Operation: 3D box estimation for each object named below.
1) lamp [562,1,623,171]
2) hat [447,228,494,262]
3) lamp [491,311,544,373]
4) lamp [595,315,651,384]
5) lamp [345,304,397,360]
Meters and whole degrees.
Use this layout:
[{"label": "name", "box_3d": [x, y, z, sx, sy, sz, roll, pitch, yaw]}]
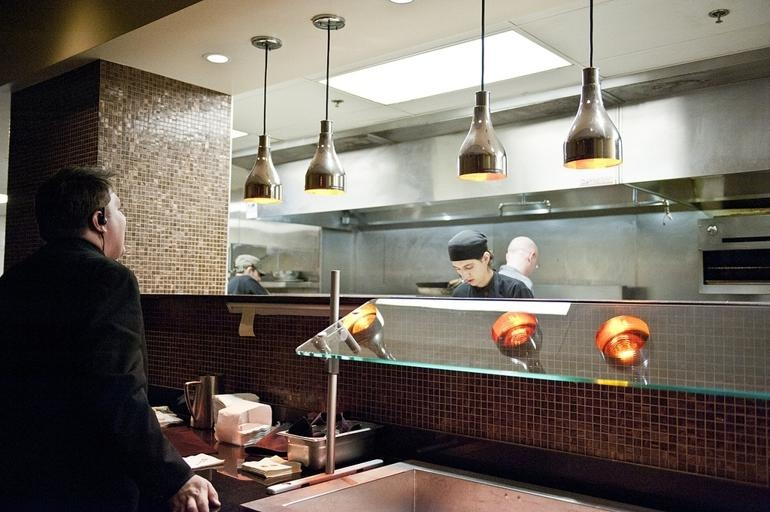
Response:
[{"label": "lamp", "box_3d": [0.905, -0.816, 2.685, 0.223, 0.876, 0.552, -1, -1, 18]}, {"label": "hat", "box_3d": [0.640, -0.091, 4.600, 0.288, 0.161, 0.226, -3, 2, -20]}, {"label": "lamp", "box_3d": [0.416, 0.268, 1.934, 0.158, 0.157, 0.258, -1, -1, 11]}, {"label": "lamp", "box_3d": [0.714, 0.275, 1.839, 0.158, 0.160, 0.274, -1, -1, 22]}, {"label": "lamp", "box_3d": [-0.068, 0.259, 2.164, 0.159, 0.158, 0.419, 0, -1, -4]}]
